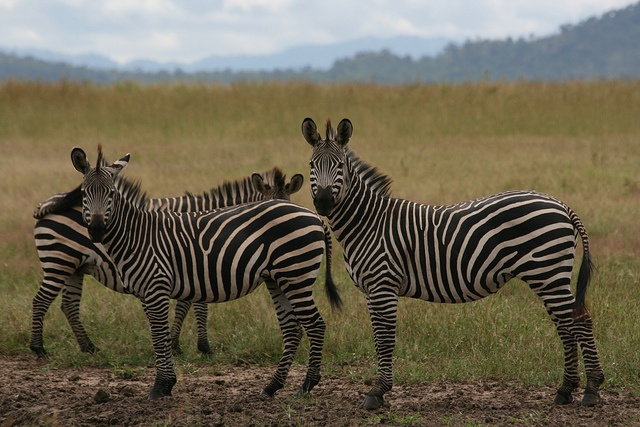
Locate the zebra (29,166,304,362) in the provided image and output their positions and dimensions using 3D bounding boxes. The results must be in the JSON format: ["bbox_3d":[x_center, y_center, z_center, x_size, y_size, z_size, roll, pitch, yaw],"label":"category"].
[{"bbox_3d":[-2.132,1.171,17.596,4.771,3.312,1.393,-1,2,8],"label":"zebra"}]
